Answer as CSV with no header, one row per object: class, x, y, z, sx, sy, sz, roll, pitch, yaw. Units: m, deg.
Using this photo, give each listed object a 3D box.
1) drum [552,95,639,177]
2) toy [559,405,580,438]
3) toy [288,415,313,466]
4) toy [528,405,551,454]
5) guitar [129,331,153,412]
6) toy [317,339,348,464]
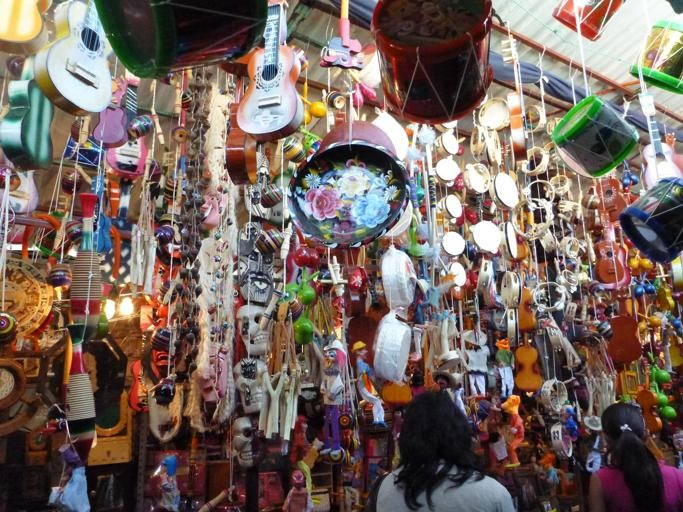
drum,1.221,-0.575,2.502,0.328,0.324,0.302,0,-8,41
toy,1.716,1.192,3.929,0.111,0.288,0.282,-5,34,27
toy,-0.296,1.313,3.739,0.148,0.341,0.333,5,-6,-2
toy,1.790,1.599,4.711,0.184,0.433,0.534,2,-7,22
guitar,-1.374,0.814,3.540,0.127,0.558,0.671,7,-7,-22
toy,-0.047,0.809,3.002,0.165,0.665,0.326,5,-7,1
